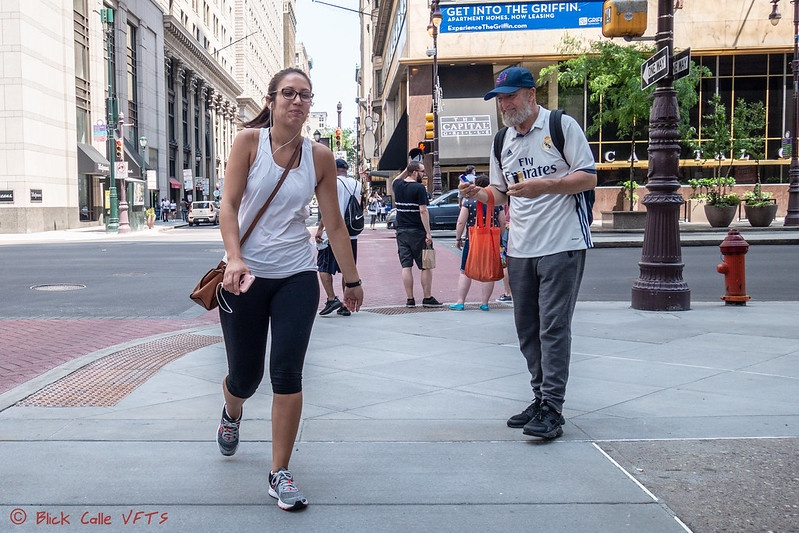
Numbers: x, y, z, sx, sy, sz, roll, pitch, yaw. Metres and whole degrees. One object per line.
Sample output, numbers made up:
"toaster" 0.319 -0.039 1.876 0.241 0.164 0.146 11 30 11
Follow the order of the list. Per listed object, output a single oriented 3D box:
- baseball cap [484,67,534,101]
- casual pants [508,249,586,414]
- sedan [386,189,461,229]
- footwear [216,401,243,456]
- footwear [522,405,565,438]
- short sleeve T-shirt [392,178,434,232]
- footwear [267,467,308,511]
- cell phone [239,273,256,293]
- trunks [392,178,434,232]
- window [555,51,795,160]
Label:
"baseball cap" 0.962 -1.493 6.181 0.473 0.226 0.300 -13 12 -18
"casual pants" 1.166 0.546 6.178 0.581 1.353 0.454 1 9 7
"sedan" 0.822 -2.174 29.801 2.994 1.239 1.618 0 1 -4
"footwear" -1.261 1.151 5.655 0.189 0.429 0.149 -33 -43 30
"footwear" 1.148 1.236 6.097 0.170 0.192 0.379 1 -2 42
"short sleeve T-shirt" 0.146 -0.905 11.390 0.559 0.737 0.324 2 10 17
"footwear" -0.747 1.475 5.130 0.147 0.151 0.356 0 5 -37
"cell phone" -1.001 0.099 5.025 0.020 0.085 0.149 30 -12 -28
"trunks" 0.146 -0.905 11.390 0.559 0.737 0.322 2 10 17
"window" 10.961 -6.578 30.741 10.398 4.308 0.364 0 -6 -15
